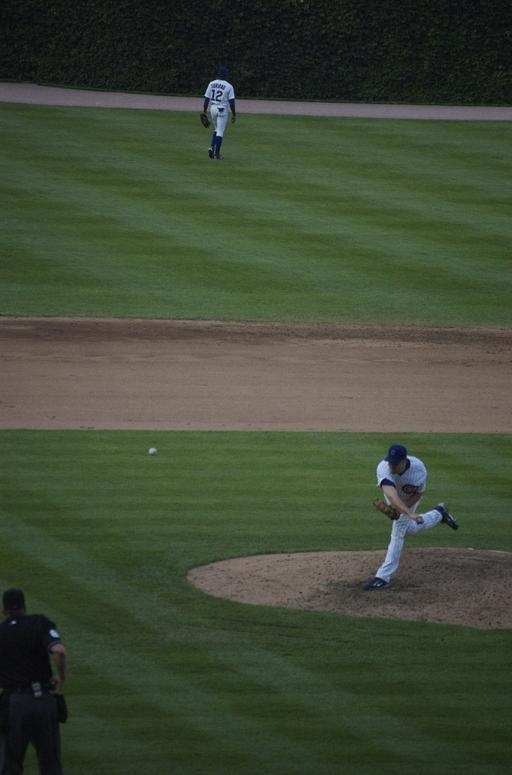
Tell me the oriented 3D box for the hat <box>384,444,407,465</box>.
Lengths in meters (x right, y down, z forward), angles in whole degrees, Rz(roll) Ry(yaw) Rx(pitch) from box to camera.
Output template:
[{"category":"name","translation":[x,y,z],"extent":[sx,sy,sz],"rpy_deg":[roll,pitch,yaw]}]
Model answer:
[{"category":"hat","translation":[1.811,0.815,24.454],"extent":[0.178,0.163,0.272],"rpy_deg":[19,34,18]}]

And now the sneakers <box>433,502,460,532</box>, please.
[{"category":"sneakers","translation":[2.525,1.697,25.585],"extent":[0.180,0.243,0.545],"rpy_deg":[47,-4,41]}]

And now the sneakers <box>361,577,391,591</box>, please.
[{"category":"sneakers","translation":[1.572,2.525,24.916],"extent":[0.330,0.172,0.149],"rpy_deg":[-2,-20,1]}]

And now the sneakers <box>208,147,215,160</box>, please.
[{"category":"sneakers","translation":[-0.800,-4.236,35.263],"extent":[0.084,0.283,0.117],"rpy_deg":[1,37,9]}]

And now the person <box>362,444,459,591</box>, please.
[{"category":"person","translation":[2.030,1.582,24.834],"extent":[1.367,1.880,0.710],"rpy_deg":[-17,26,-36]}]

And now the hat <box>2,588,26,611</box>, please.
[{"category":"hat","translation":[-2.797,2.429,22.407],"extent":[0.279,0.247,0.481],"rpy_deg":[1,29,-11]}]

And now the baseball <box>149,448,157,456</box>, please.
[{"category":"baseball","translation":[-1.489,0.918,28.052],"extent":[0.087,0.055,0.099],"rpy_deg":[3,23,-2]}]

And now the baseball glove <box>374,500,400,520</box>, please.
[{"category":"baseball glove","translation":[1.652,1.545,24.493],"extent":[0.185,0.227,0.626],"rpy_deg":[5,-2,26]}]
